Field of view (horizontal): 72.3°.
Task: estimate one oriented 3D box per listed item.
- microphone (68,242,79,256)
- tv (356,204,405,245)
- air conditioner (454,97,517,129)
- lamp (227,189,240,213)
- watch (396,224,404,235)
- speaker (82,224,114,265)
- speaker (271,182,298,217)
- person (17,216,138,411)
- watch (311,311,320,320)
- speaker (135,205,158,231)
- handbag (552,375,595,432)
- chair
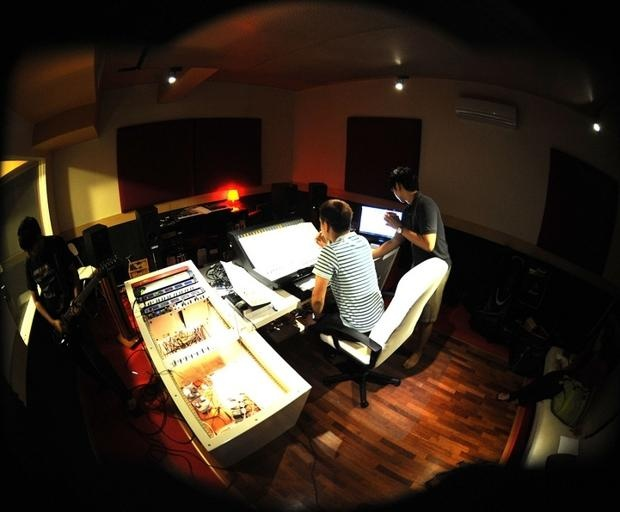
[{"bbox_3d":[-1.427,-0.041,2.549,0.057,0.060,0.072,27,-13,-9],"label":"microphone"},{"bbox_3d":[0.609,-0.340,3.845,0.416,0.309,0.307,11,30,17],"label":"tv"},{"bbox_3d":[1.005,-0.818,2.406,0.064,0.101,0.392,-27,25,-4],"label":"air conditioner"},{"bbox_3d":[-0.631,-0.483,3.525,0.053,0.162,0.141,8,21,33],"label":"lamp"},{"bbox_3d":[0.655,-0.197,3.096,0.039,0.063,0.062,5,15,30],"label":"watch"},{"bbox_3d":[-1.438,-0.073,2.850,0.118,0.267,0.142,19,35,24],"label":"speaker"},{"bbox_3d":[-0.228,-0.527,3.909,0.280,0.316,0.079,-12,19,-26],"label":"speaker"},{"bbox_3d":[-1.289,0.361,2.302,0.328,1.248,0.451,6,19,26],"label":"person"},{"bbox_3d":[0.043,0.392,2.863,0.061,0.062,0.048,-31,-16,37],"label":"watch"},{"bbox_3d":[-1.205,-0.275,3.125,0.136,0.225,0.113,1,28,-9],"label":"speaker"},{"bbox_3d":[1.315,0.740,2.141,0.041,0.188,0.183,10,28,-14],"label":"handbag"},{"bbox_3d":[0.444,0.439,2.861,0.697,1.142,0.668,27,35,36],"label":"chair"}]
